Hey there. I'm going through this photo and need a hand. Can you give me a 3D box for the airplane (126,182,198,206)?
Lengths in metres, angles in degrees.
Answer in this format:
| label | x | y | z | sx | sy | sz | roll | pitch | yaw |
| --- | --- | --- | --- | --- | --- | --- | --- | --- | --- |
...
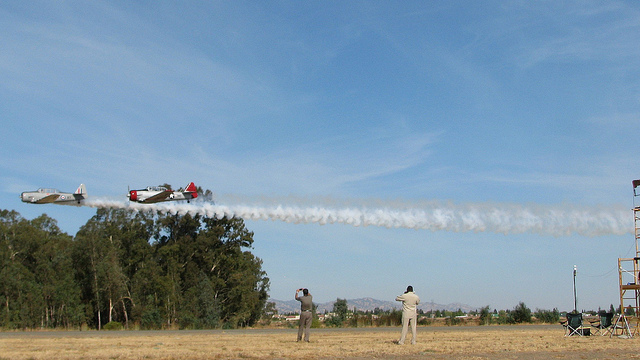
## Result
| label | x | y | z | sx | sy | sz | roll | pitch | yaw |
| --- | --- | --- | --- | --- | --- | --- | --- | --- | --- |
| airplane | -21.732 | 1.725 | 109.651 | 4.581 | 3.440 | 8.703 | -10 | -18 | 42 |
